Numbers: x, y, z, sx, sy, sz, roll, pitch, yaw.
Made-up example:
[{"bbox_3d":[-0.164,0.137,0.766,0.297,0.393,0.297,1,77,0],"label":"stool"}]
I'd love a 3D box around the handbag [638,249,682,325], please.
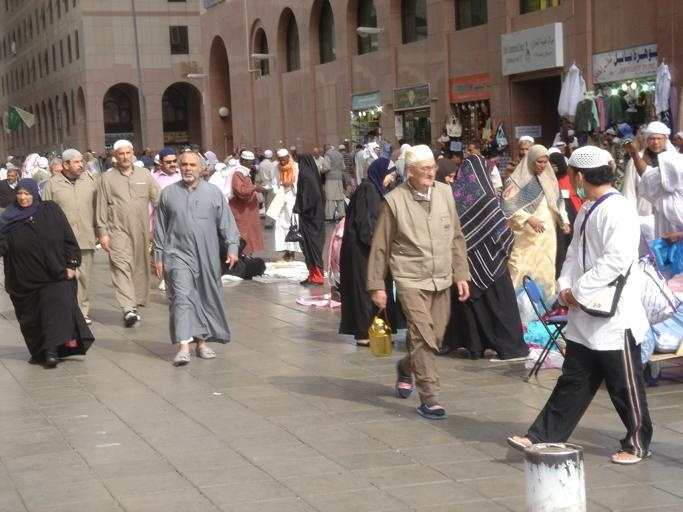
[{"bbox_3d":[2.645,0.257,6.648,0.277,0.577,0.518,-22,5,19],"label":"handbag"}]

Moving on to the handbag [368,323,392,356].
[{"bbox_3d":[0.358,0.765,7.402,0.228,0.311,0.206,-4,-17,15],"label":"handbag"}]

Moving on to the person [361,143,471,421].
[{"bbox_3d":[0.636,0.177,6.617,0.764,2.162,0.695,1,6,22],"label":"person"}]

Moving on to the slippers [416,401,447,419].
[{"bbox_3d":[0.718,1.217,6.398,0.098,0.092,0.217,-7,12,-35],"label":"slippers"}]

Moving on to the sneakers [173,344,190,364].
[{"bbox_3d":[-1.670,1.046,8.380,0.121,0.148,0.351,-2,-9,-3],"label":"sneakers"}]

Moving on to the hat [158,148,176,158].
[{"bbox_3d":[-2.705,-1.651,12.530,0.194,0.151,0.196,-18,16,-32],"label":"hat"}]

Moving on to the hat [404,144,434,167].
[{"bbox_3d":[0.630,-0.812,6.441,0.205,0.159,0.225,3,8,39],"label":"hat"}]

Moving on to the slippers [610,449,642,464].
[{"bbox_3d":[1.883,1.312,5.272,0.156,0.043,0.083,4,0,6],"label":"slippers"}]

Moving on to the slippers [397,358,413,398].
[{"bbox_3d":[0.543,1.046,6.884,0.136,0.313,0.133,-4,-1,-41],"label":"slippers"}]

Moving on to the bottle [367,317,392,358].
[{"bbox_3d":[0.361,0.700,7.371,0.173,0.433,0.212,-8,21,-3],"label":"bottle"}]

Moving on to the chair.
[{"bbox_3d":[2.049,0.668,7.572,0.648,0.940,0.516,1,6,17],"label":"chair"}]
